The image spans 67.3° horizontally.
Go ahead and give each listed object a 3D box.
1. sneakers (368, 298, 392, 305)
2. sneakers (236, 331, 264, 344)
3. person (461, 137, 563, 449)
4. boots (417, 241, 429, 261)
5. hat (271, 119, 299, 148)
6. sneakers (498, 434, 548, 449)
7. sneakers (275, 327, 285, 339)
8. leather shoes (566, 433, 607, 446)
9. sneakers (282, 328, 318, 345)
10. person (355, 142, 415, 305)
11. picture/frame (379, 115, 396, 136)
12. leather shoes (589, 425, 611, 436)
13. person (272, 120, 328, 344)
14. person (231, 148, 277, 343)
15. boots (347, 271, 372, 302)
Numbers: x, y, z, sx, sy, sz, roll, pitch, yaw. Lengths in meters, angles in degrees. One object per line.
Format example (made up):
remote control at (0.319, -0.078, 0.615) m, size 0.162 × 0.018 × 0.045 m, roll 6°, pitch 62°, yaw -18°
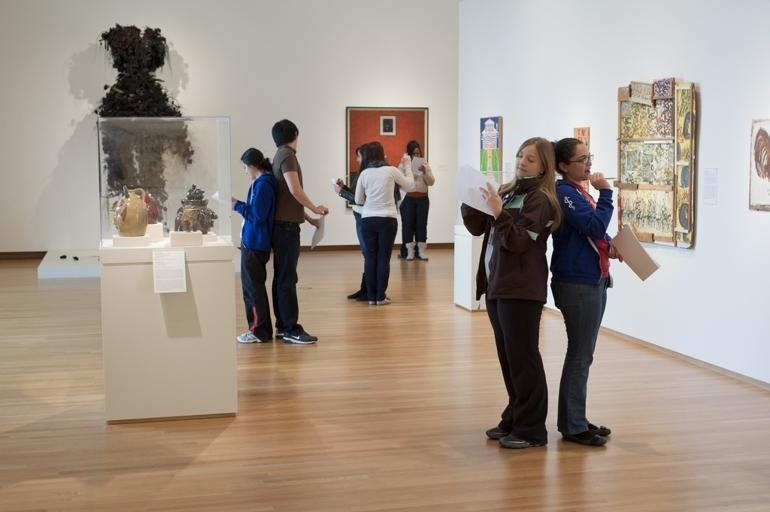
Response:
sneakers at (-0.057, 0.614, 8.407) m, size 0.307 × 0.134 × 0.119 m, roll -6°, pitch 10°, yaw -39°
sneakers at (-1.532, 0.914, 6.632) m, size 0.374 × 0.179 × 0.153 m, roll 5°, pitch -2°, yaw -8°
person at (0.925, 0.268, 4.109) m, size 0.595 × 2.190 × 0.476 m, roll 1°, pitch 9°, yaw 9°
boots at (0.819, -0.121, 12.480) m, size 0.235 × 0.390 × 0.356 m, roll -3°, pitch 4°, yaw -41°
hat at (-1.049, -1.369, 6.367) m, size 0.255 × 0.331 × 0.325 m, roll 4°, pitch 21°, yaw 8°
sneakers at (1.000, 1.325, 4.176) m, size 0.298 × 0.141 × 0.123 m, roll 3°, pitch 0°, yaw -4°
sneakers at (-1.195, 0.887, 6.716) m, size 0.101 × 0.149 × 0.146 m, roll 2°, pitch -8°, yaw -9°
leather shoes at (1.458, 1.319, 4.178) m, size 0.268 × 0.102 × 0.114 m, roll 0°, pitch 4°, yaw 18°
sneakers at (-0.953, 0.899, 6.543) m, size 0.370 × 0.177 × 0.164 m, roll 1°, pitch -1°, yaw 2°
person at (-0.040, -0.445, 8.138) m, size 0.743 × 2.314 × 0.448 m, roll 2°, pitch 9°, yaw 14°
picture/frame at (0.053, -3.082, 13.470) m, size 0.458 × 0.553 × 0.053 m, roll 0°, pitch 3°, yaw -10°
leather shoes at (1.606, 1.293, 4.318) m, size 0.171 × 0.058 × 0.093 m, roll 2°, pitch 3°, yaw -2°
person at (-1.023, -0.243, 6.340) m, size 0.597 × 2.473 × 0.417 m, roll 2°, pitch 9°, yaw 11°
person at (-1.421, -0.097, 6.383) m, size 0.464 × 2.171 × 0.510 m, roll -9°, pitch 12°, yaw -44°
boots at (-0.354, 0.508, 8.771) m, size 0.454 × 0.562 × 0.257 m, roll 5°, pitch -3°, yaw -3°
